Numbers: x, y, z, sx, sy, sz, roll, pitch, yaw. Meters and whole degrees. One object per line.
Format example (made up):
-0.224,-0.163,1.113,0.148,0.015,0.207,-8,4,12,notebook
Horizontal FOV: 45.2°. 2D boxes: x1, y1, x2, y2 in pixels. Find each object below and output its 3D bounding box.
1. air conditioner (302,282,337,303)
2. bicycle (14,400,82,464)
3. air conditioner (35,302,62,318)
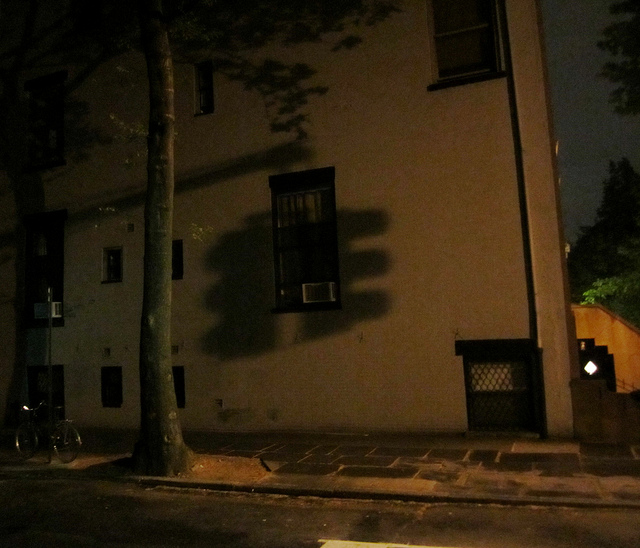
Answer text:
-0.003,0.437,18.564,0.827,0.487,0.310,-2,4,1,air conditioner
-6.013,3.464,16.909,1.691,1.298,0.750,-1,1,15,bicycle
-6.595,0.858,18.595,0.389,0.337,0.239,1,0,20,air conditioner
